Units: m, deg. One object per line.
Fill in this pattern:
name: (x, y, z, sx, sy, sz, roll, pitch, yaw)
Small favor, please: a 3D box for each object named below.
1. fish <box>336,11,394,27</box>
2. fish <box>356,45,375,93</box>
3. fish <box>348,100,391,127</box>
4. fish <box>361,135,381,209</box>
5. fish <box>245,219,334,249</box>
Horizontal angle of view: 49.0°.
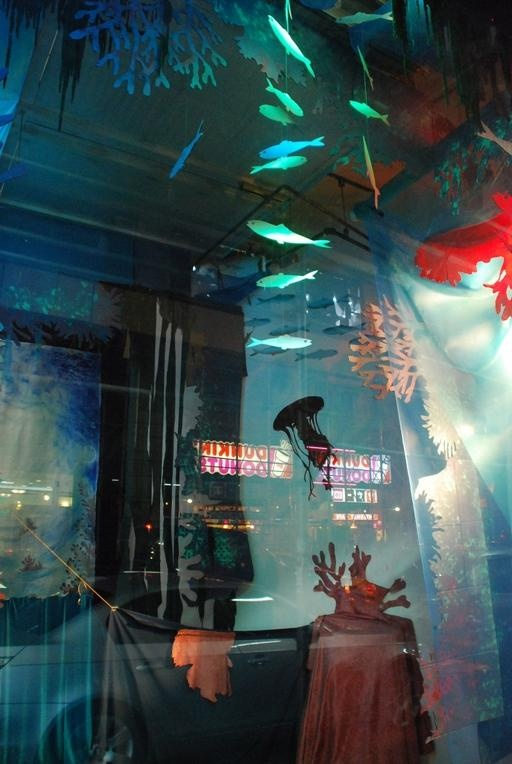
fish: (0.422, -1.445, 2.222, 0.225, 0.061, 0.036, -9, 32, -8)
fish: (0.452, -1.284, 2.304, 0.044, 0.011, 0.201, -21, -62, 23)
fish: (0.448, -1.091, 2.299, 0.174, 0.080, 0.066, 21, -7, -17)
fish: (0.442, -0.809, 2.174, 0.106, 0.292, 0.035, -1, -10, -40)
fish: (0.112, -0.521, 1.975, 0.346, 0.074, 0.028, 4, -15, -31)
